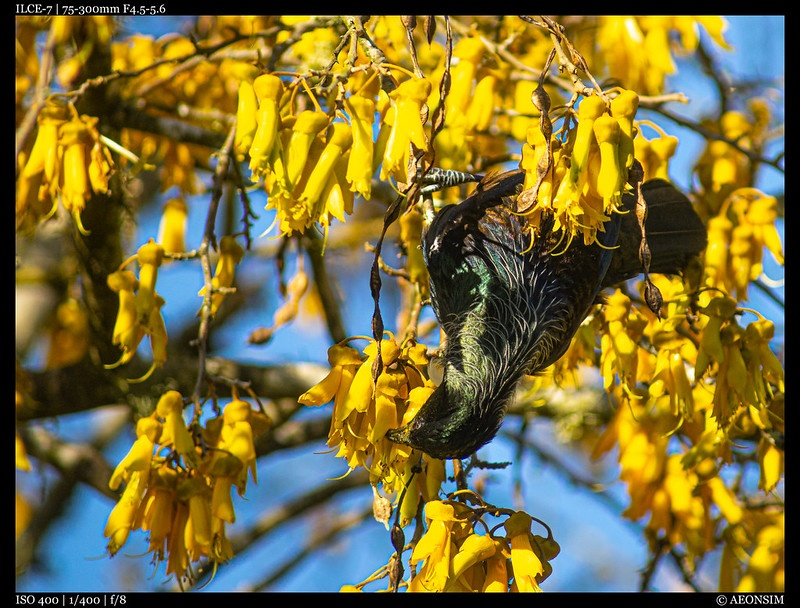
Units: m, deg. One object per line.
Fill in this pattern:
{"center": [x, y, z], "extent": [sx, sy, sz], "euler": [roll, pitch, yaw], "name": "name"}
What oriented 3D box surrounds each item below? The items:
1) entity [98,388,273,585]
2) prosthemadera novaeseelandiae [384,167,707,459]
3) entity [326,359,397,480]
{"center": [-0.605, 0.531, 3.707], "extent": [0.400, 0.540, 0.299], "euler": [11, 21, -5], "name": "entity"}
{"center": [0.391, 0.003, 4.091], "extent": [1.176, 0.759, 0.554], "euler": [-7, 29, -42], "name": "prosthemadera novaeseelandiae"}
{"center": [-0.103, 0.344, 3.749], "extent": [0.179, 0.244, 0.082], "euler": [12, 21, -2], "name": "entity"}
